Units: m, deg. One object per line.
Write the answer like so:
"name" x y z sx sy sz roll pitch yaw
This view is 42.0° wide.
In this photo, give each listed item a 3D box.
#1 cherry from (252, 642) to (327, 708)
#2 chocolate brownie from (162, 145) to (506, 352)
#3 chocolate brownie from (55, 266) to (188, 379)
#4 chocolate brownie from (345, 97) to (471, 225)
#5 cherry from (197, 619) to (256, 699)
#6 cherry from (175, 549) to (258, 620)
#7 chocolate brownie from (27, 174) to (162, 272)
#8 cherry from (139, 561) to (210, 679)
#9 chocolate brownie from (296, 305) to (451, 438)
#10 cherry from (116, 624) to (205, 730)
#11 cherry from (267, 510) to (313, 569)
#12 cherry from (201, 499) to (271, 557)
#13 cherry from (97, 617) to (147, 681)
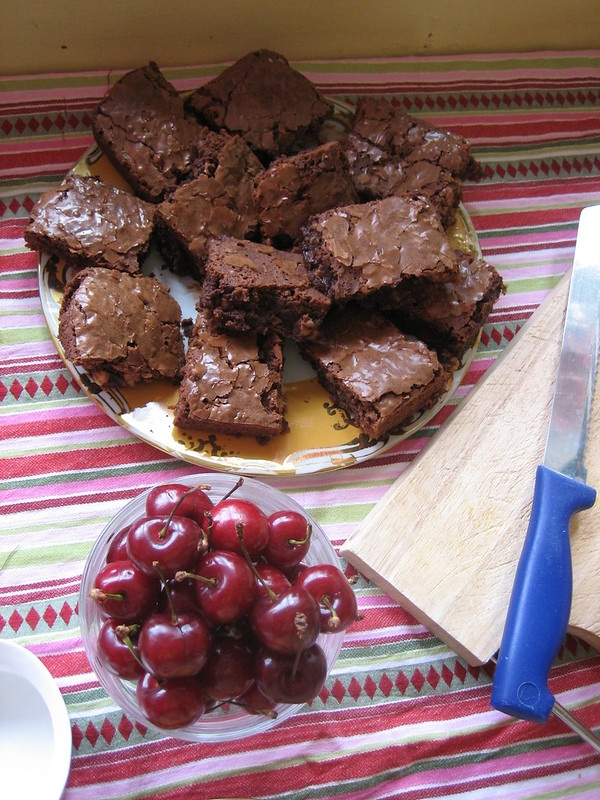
"cherry" -0.018 0.434 1.245 0.132 0.114 0.102 -7 82 -8
"chocolate brownie" 0.075 -0.332 1.809 0.746 0.199 0.433 3 65 -5
"chocolate brownie" -0.396 -0.160 1.748 0.277 0.209 0.221 -10 45 -15
"chocolate brownie" 0.253 -0.598 2.013 0.358 0.113 0.251 28 81 3
"cherry" -0.108 0.432 1.236 0.072 0.090 0.068 -17 78 -4
"cherry" -0.130 0.285 1.196 0.081 0.106 0.070 13 85 31
"chocolate brownie" -0.459 -0.395 1.771 0.282 0.078 0.211 23 66 -7
"cherry" -0.193 0.340 1.189 0.109 0.108 0.169 9 104 24
"chocolate brownie" 0.168 -0.084 1.806 0.254 0.097 0.327 -35 68 -17
"cherry" -0.213 0.424 1.210 0.101 0.089 0.183 -14 100 -40
"cherry" -0.019 0.234 1.312 0.067 0.087 0.066 -42 106 5
"cherry" -0.096 0.196 1.292 0.100 0.110 0.089 32 78 2
"cherry" -0.284 0.407 1.278 0.110 0.097 0.092 -10 69 -10
